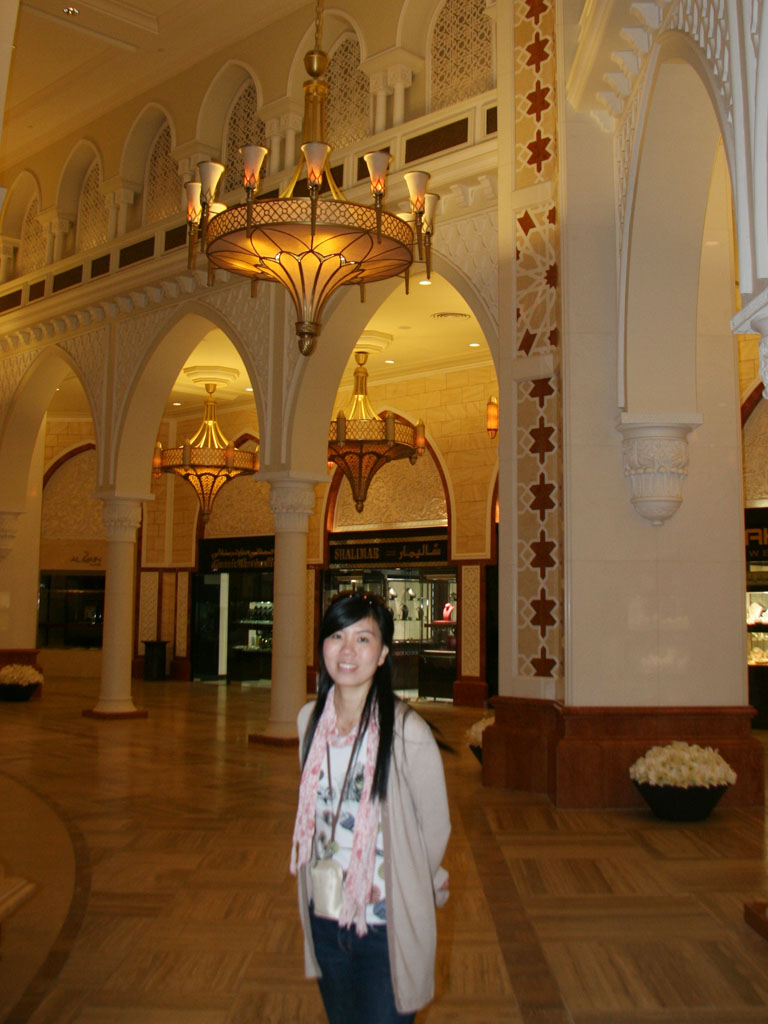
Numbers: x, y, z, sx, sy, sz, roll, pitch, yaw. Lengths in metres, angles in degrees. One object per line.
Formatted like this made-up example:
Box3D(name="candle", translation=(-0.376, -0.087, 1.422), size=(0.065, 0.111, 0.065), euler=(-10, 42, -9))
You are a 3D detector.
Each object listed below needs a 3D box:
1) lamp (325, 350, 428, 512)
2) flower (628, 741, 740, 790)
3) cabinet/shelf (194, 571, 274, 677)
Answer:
Box3D(name="lamp", translation=(-0.396, -1.409, 12.145), size=(1.751, 2.367, 1.850), euler=(-1, -1, 26))
Box3D(name="flower", translation=(2.007, 1.730, 5.323), size=(0.633, 0.285, 0.359), euler=(4, 5, 5))
Box3D(name="cabinet/shelf", translation=(-3.095, 2.509, 17.997), size=(2.500, 2.640, 1.482), euler=(-2, -7, 5))
